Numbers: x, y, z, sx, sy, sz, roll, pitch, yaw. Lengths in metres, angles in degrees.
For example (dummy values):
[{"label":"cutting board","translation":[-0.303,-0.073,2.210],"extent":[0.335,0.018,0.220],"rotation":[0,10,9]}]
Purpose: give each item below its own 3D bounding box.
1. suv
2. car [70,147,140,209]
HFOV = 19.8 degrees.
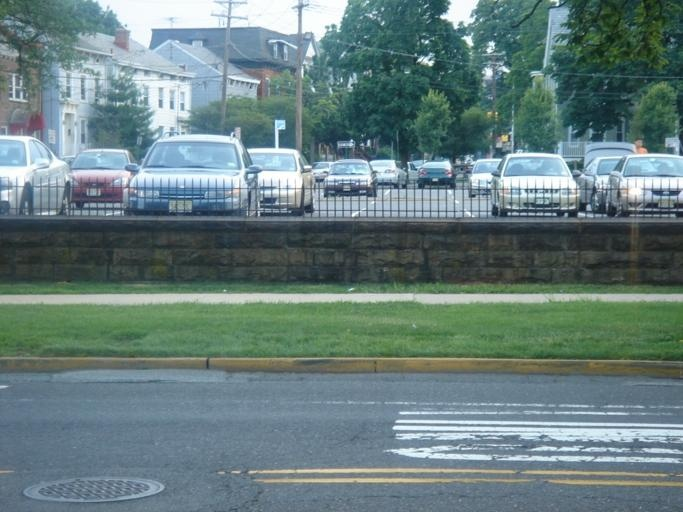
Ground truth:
[{"label":"suv","translation":[-4.678,-2.681,64.902],"extent":[3.970,2.704,6.889],"rotation":[1,7,7]},{"label":"car","translation":[-8.715,-3.095,72.483],"extent":[2.480,1.865,4.252],"rotation":[0,9,4]}]
